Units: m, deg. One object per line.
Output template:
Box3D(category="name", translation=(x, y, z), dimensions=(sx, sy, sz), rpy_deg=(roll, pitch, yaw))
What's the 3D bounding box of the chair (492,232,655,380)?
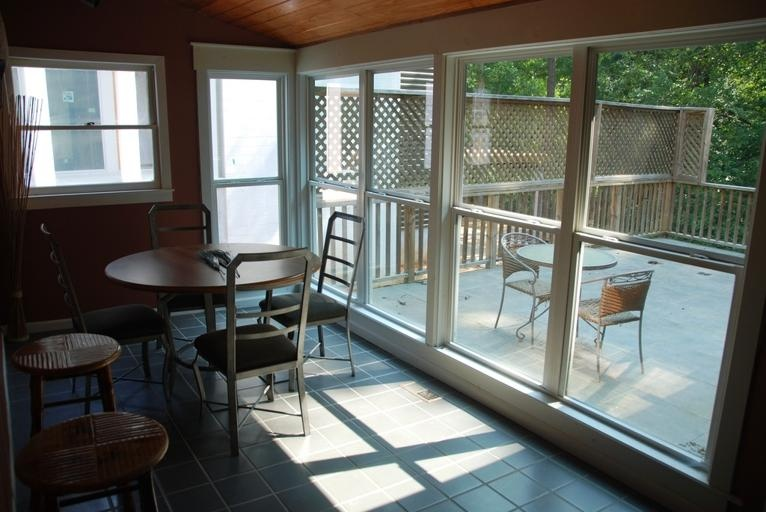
Box3D(category="chair", translation=(1.269, 0.321, 3.451), dimensions=(0.449, 0.546, 1.042), rpy_deg=(-9, 15, -40))
